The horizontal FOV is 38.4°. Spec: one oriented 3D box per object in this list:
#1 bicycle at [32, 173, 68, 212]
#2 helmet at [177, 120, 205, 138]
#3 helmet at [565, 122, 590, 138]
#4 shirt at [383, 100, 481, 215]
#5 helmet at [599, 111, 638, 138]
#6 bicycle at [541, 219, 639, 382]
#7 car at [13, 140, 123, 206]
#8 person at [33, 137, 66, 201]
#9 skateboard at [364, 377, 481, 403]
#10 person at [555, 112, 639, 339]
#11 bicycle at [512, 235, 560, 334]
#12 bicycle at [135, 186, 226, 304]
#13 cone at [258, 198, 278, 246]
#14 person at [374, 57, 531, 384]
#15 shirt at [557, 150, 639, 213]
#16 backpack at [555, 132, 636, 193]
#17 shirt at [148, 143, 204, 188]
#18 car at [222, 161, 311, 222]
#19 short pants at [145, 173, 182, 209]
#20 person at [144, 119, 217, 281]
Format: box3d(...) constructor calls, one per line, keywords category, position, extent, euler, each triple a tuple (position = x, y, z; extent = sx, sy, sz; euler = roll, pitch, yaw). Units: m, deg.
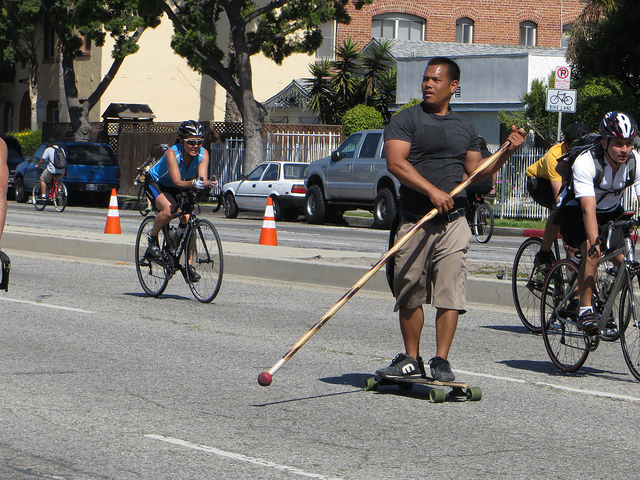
box3d(category="bicycle", position=(-8.208, -1.335, 28.022), extent=(1.699, 1.132, 0.860), euler=(6, 6, 44))
box3d(category="helmet", position=(-1.553, -1.327, 11.162), extent=(0.312, 0.200, 0.379), euler=(0, 6, -9))
box3d(category="helmet", position=(2.721, -1.150, 9.660), extent=(0.165, 0.141, 0.227), euler=(-11, 14, -26))
box3d(category="shirt", position=(0.968, -0.659, 7.683), extent=(0.952, 0.947, 0.474), euler=(3, -4, -20))
box3d(category="helmet", position=(2.546, -0.971, 7.815), extent=(0.294, 0.223, 0.277), euler=(3, 6, 18))
box3d(category="bicycle", position=(2.461, 0.515, 8.379), extent=(0.474, 1.465, 1.196), euler=(-1, 6, -26))
box3d(category="car", position=(-9.006, -2.303, 32.903), extent=(2.378, 1.990, 4.366), euler=(-1, 8, -33))
box3d(category="person", position=(-8.271, -2.204, 28.310), extent=(0.992, 1.912, 0.952), euler=(12, 10, 39))
box3d(category="skateboard", position=(0.891, 1.197, 7.574), extent=(0.333, 0.149, 0.841), euler=(3, -2, -37))
box3d(category="person", position=(2.467, -0.122, 8.176), extent=(0.684, 1.979, 0.824), euler=(2, 5, 15))
box3d(category="bicycle", position=(2.336, 0.504, 9.883), extent=(0.198, 1.067, 1.023), euler=(-1, 11, -17))
box3d(category="bicycle", position=(-1.744, 0.039, 11.696), extent=(0.543, 1.498, 1.588), euler=(-3, 7, -40))
box3d(category="cone", position=(-0.934, -0.325, 16.650), extent=(0.302, 0.792, 1.122), euler=(1, 5, -4))
box3d(category="person", position=(1.087, -0.156, 7.608), extent=(1.119, 2.707, 0.834), euler=(3, -6, -4))
box3d(category="shirt", position=(2.480, -0.525, 8.140), extent=(0.534, 0.523, 0.730), euler=(8, 7, 25))
box3d(category="backpack", position=(2.497, -0.688, 8.272), extent=(0.503, 0.550, 0.360), euler=(12, 10, -12))
box3d(category="shirt", position=(-1.794, -0.907, 11.388), extent=(0.736, 0.555, 0.426), euler=(2, 5, 4))
box3d(category="car", position=(-1.359, -1.448, 27.111), extent=(1.459, 1.182, 2.431), euler=(-2, 8, -40))
box3d(category="short pants", position=(-2.015, -0.615, 11.617), extent=(0.444, 0.171, 0.342), euler=(15, 8, 37))
box3d(category="person", position=(-1.719, -0.601, 11.394), extent=(0.486, 1.698, 1.276), euler=(-3, 7, -40))
